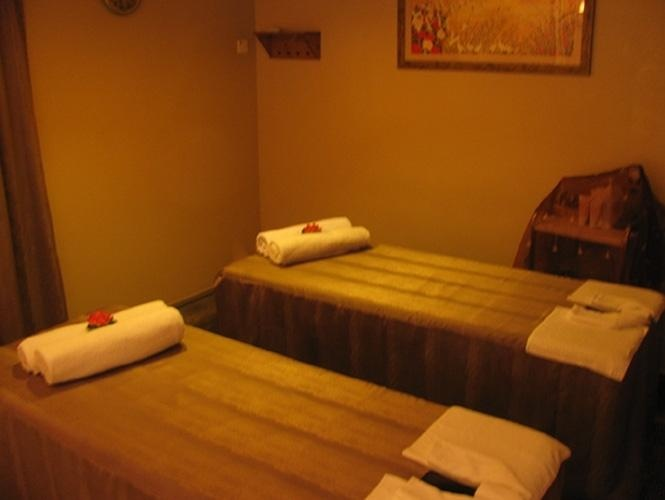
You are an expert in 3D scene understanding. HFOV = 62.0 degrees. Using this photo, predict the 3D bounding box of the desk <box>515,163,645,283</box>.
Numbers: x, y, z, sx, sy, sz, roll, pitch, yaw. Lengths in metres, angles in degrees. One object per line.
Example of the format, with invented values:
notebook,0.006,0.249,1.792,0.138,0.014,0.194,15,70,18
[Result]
desk,1.491,-0.124,3.258,0.561,0.660,0.651,-17,24,-35

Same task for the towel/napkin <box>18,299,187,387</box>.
towel/napkin,-0.906,0.383,2.256,0.511,0.169,0.299,-17,16,-40

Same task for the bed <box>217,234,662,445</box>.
bed,0.499,0.362,2.628,1.517,0.431,0.917,13,22,32
